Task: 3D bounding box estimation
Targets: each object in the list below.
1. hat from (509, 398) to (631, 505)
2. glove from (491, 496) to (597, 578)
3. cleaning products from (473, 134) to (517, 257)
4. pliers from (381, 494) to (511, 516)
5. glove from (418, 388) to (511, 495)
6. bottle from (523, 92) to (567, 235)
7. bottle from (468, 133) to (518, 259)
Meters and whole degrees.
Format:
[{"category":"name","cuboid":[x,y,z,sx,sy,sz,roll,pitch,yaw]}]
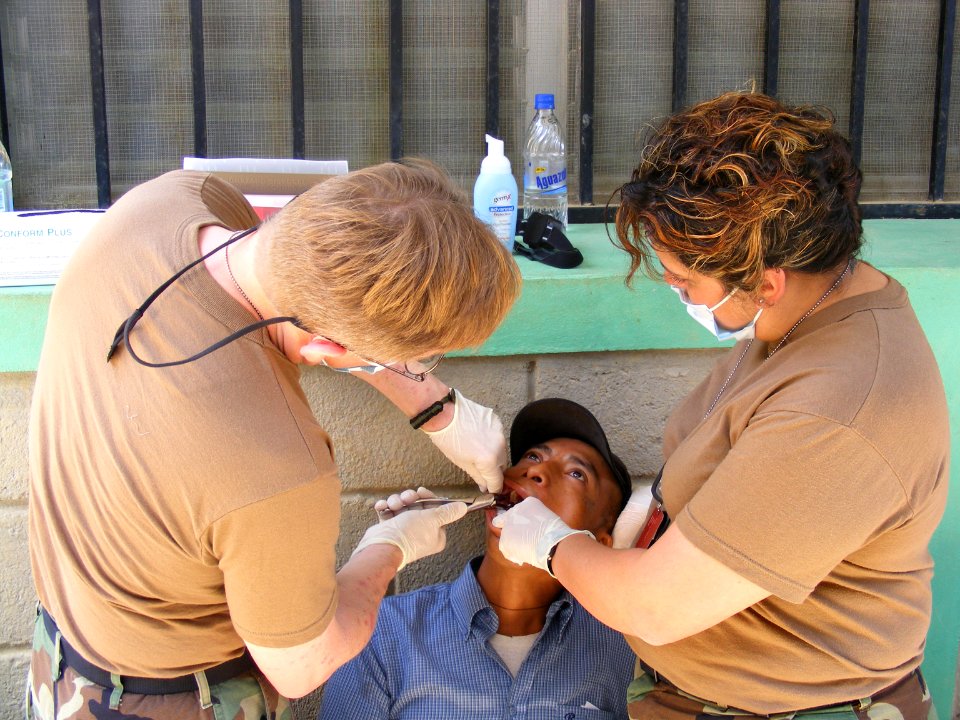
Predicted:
[{"category":"hat","cuboid":[0.278,0.261,2.623,0.271,0.361,0.125,-18,8,32]},{"category":"glove","cuboid":[0.123,0.422,2.185,0.253,0.171,0.357,-3,18,-9]},{"category":"cleaning products","cuboid":[0.045,-0.474,2.542,0.126,0.374,0.153,-7,18,-22]},{"category":"pliers","cuboid":[-0.101,0.400,2.460,0.329,0.042,0.063,-6,-10,-12]},{"category":"glove","cuboid":[-0.048,0.198,2.549,0.318,0.279,0.221,-8,24,-36]},{"category":"bottle","cuboid":[0.194,-0.602,2.843,0.168,0.493,0.161,1,18,0]},{"category":"bottle","cuboid":[0.037,-0.461,2.561,0.166,0.392,0.144,-7,17,-22]}]
